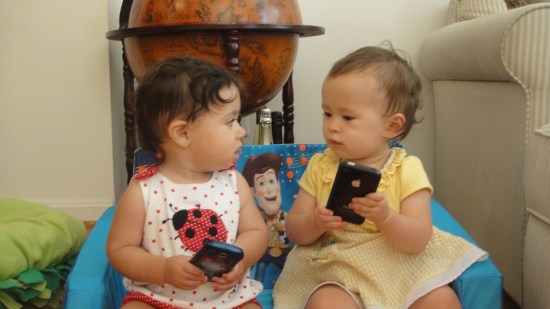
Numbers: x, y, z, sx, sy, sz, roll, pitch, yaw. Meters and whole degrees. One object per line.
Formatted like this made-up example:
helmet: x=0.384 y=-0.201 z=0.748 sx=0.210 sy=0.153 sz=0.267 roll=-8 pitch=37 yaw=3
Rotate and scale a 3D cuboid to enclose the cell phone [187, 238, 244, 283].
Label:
cell phone: x=-0.175 y=0.322 z=1.347 sx=0.136 sy=0.132 sz=0.131 roll=36 pitch=27 yaw=-24
